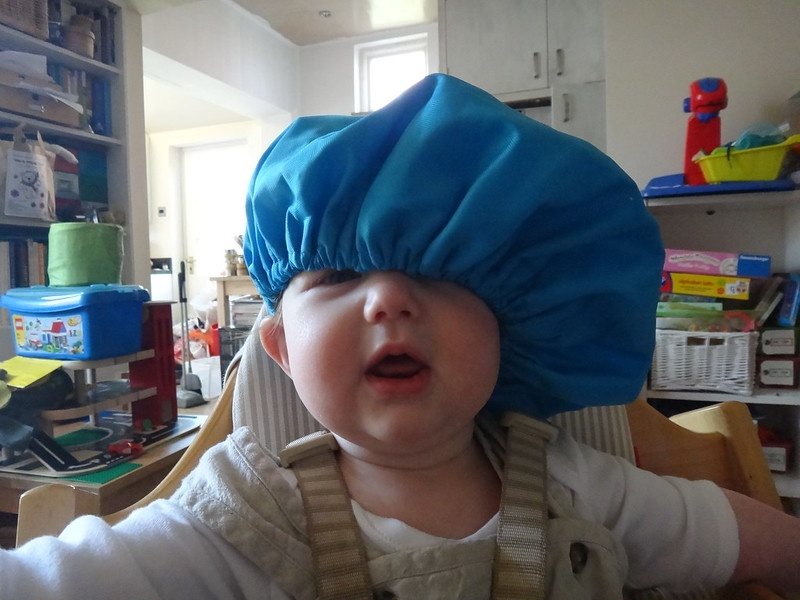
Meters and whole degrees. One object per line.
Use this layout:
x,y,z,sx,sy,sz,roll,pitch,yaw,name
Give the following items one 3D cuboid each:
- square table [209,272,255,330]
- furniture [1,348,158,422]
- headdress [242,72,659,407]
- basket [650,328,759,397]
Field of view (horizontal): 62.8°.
-0.882,-0.016,3.625,0.312,0.310,0.296,-1,6,0,square table
-0.780,0.201,1.616,0.212,0.101,0.286,8,17,32,furniture
0.066,-0.111,1.151,0.633,0.197,0.645,10,-23,8,headdress
0.874,0.174,1.873,0.242,0.161,0.248,1,-5,18,basket
